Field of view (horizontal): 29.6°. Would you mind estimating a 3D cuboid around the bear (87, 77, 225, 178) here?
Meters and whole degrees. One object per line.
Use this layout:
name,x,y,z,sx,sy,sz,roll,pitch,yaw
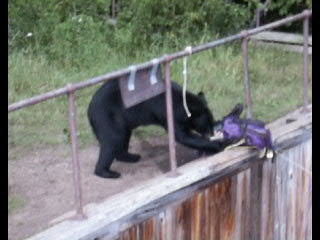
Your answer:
bear,0.049,-0.044,4.602,1.174,0.942,0.454,-5,17,-14
